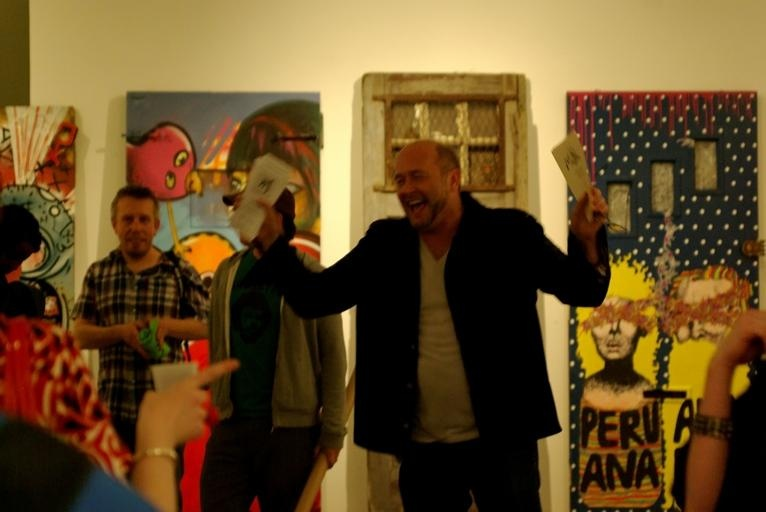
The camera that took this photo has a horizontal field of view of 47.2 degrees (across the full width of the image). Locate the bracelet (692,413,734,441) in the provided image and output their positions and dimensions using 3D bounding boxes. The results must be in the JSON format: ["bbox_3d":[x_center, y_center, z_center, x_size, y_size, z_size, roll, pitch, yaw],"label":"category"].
[{"bbox_3d":[1.491,0.770,4.004,0.188,0.114,0.050,0,0,-1],"label":"bracelet"}]
